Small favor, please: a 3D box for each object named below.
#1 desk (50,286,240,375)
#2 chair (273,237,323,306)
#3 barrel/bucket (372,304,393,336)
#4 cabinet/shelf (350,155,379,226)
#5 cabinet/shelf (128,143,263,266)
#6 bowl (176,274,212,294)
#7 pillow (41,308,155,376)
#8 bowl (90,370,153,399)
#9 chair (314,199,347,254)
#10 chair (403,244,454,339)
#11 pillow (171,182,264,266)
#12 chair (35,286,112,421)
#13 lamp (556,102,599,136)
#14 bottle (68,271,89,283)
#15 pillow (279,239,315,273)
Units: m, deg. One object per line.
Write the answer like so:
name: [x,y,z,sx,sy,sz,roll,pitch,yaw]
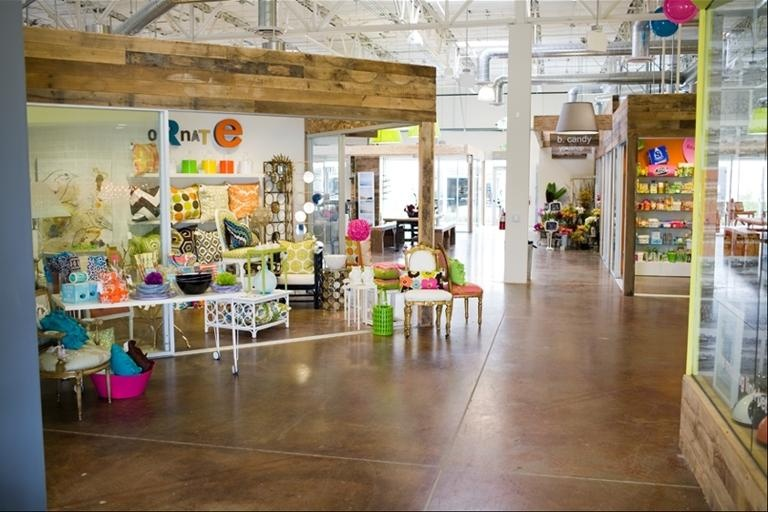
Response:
desk: [-2.691,0.820,6.764,1.682,0.749,0.975,-3,6,-33]
chair: [-1.344,0.275,9.943,1.143,1.325,1.094,0,-1,-1]
barrel/bucket: [-0.021,0.916,8.159,0.401,0.416,0.383,1,2,0]
cabinet/shelf: [-0.599,-2.153,18.931,0.923,2.373,3.707,-2,6,0]
cabinet/shelf: [-3.033,-0.777,9.211,2.381,2.026,0.805,-1,-1,-22]
bowl: [-2.219,0.315,6.686,0.291,0.148,0.284,-5,3,0]
pillow: [-2.908,0.925,6.114,0.818,0.941,0.769,-1,3,10]
bowl: [-2.723,1.330,5.937,0.380,0.128,0.364,1,-2,0]
chair: [-1.065,-0.548,10.883,0.610,1.054,0.340,-3,6,-7]
chair: [0.604,0.469,8.333,0.704,1.255,0.927,-2,6,2]
pillow: [-3.001,-0.519,10.191,1.487,1.351,0.491,-5,-13,-26]
chair: [-3.209,1.036,5.976,0.619,0.935,1.311,-5,7,-29]
lamp: [4.453,-3.156,13.374,0.840,0.530,0.845,10,17,40]
bottle: [-3.386,0.238,6.359,0.109,0.094,0.132,17,9,14]
pillow: [-1.431,0.026,9.499,0.599,0.500,0.212,0,8,3]
